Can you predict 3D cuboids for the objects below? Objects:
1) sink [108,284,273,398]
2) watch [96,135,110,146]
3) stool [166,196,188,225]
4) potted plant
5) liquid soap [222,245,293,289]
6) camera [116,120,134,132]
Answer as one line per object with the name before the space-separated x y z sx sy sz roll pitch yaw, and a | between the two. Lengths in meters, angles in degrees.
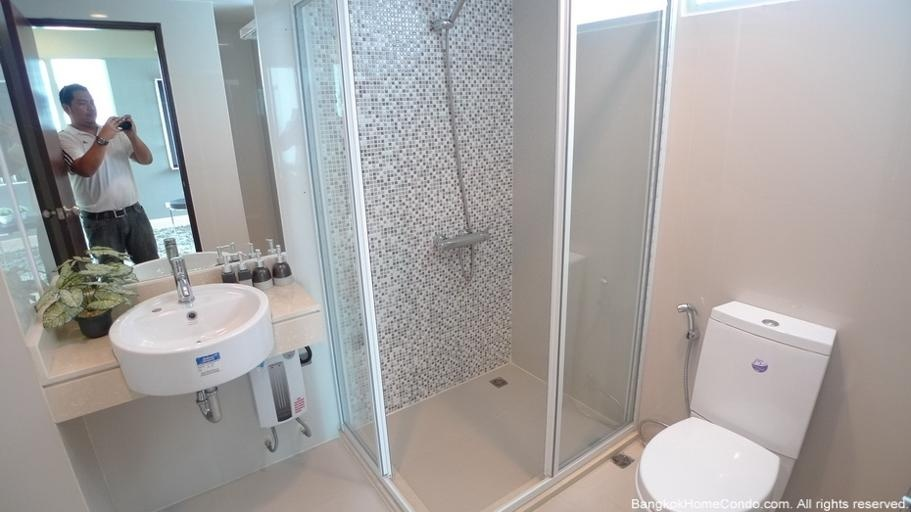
sink | -1.460 0.453 3.150 0.785 0.416 0.562 -16 21 -31
watch | -2.020 -0.657 3.197 0.053 0.052 0.022 -46 21 -9
stool | -1.681 -0.278 3.354 0.110 0.137 0.104 23 39 23
potted plant | -2.023 0.207 3.130 0.526 0.420 0.509 -15 31 -40
liquid soap | -1.274 0.077 3.538 0.258 0.183 0.127 -9 21 -31
camera | -1.901 -0.752 3.222 0.067 0.067 0.058 -15 31 25
